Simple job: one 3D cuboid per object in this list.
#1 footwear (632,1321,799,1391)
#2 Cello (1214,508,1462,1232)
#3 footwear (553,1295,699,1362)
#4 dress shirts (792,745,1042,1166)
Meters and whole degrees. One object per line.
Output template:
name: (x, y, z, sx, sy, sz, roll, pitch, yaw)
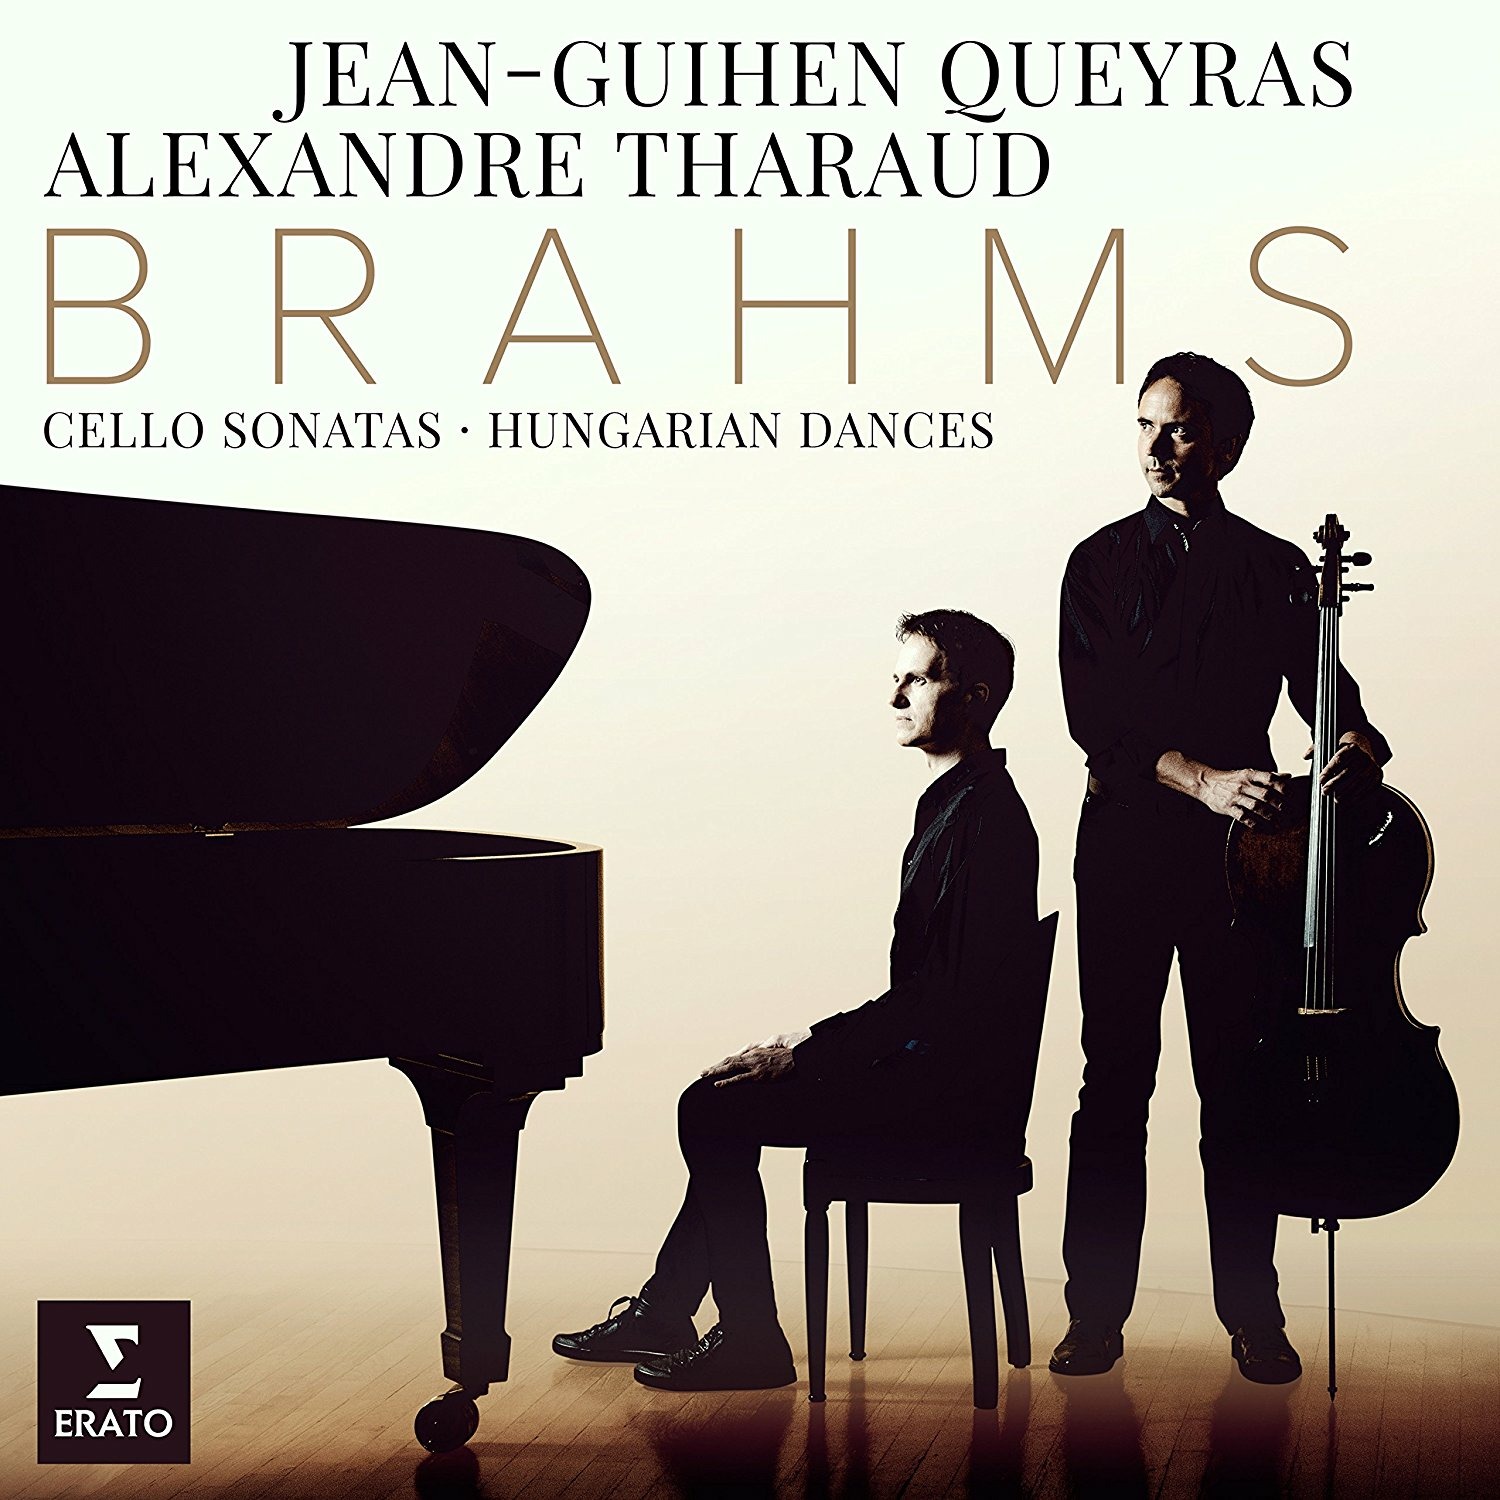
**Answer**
footwear: (-0.057, 1.213, 4.105, 0.336, 0.149, 0.129, 1, -8, 5)
Cello: (1.132, 0.265, 3.907, 0.277, 1.343, 0.522, -3, 12, -15)
footwear: (-0.244, 1.213, 4.232, 0.355, 0.156, 0.128, -1, -7, 18)
dress shirts: (0.316, 0.439, 4.055, 0.417, 0.779, 0.377, 4, 1, 24)
